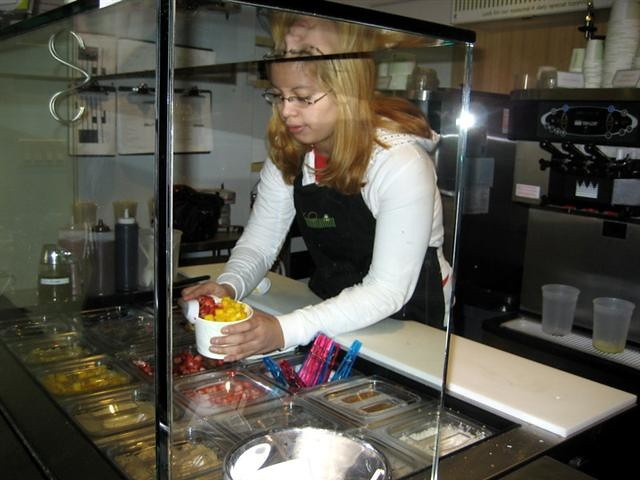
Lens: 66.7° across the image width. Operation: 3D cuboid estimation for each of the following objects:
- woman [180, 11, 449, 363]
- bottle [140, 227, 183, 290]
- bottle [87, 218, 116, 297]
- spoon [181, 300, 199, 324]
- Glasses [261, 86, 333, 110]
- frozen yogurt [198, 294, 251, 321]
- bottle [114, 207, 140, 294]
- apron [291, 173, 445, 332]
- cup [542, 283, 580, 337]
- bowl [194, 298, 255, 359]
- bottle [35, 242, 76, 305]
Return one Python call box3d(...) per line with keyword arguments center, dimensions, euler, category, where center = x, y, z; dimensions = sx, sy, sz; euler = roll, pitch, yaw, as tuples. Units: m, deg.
box3d(center=(0.000, -0.140, 1.157), dimensions=(0.509, 0.732, 0.573), euler=(11, 25, 28), category="woman")
box3d(center=(-0.199, 0.024, 0.579), dimensions=(0.020, 0.083, 0.091), euler=(-8, 15, -33), category="bottle")
box3d(center=(-0.318, 0.031, 0.703), dimensions=(0.012, 0.127, 0.100), euler=(-11, 17, -42), category="bottle")
box3d(center=(-0.238, 0.129, 0.893), dimensions=(0.039, 0.034, 0.029), euler=(1, 0, 21), category="spoon")
box3d(center=(-0.040, -0.229, 0.791), dimensions=(0.101, 0.023, 0.070), euler=(-2, 12, -15), category="Glasses")
box3d(center=(-0.196, 0.128, 0.983), dimensions=(0.058, 0.021, 0.061), euler=(1, 3, -42), category="frozen yogurt")
box3d(center=(-0.258, 0.016, 0.642), dimensions=(0.012, 0.127, 0.096), euler=(-9, 16, -36), category="bottle")
box3d(center=(0.119, 0.026, 1.110), dimensions=(0.215, 0.398, 0.317), euler=(-30, 22, -33), category="apron")
box3d(center=(1.055, 0.305, 2.146), dimensions=(0.137, 0.196, 0.186), euler=(8, 14, 31), category="cup")
box3d(center=(-0.190, 0.173, 0.925), dimensions=(0.085, 0.056, 0.093), euler=(3, 1, 0), category="bowl")
box3d(center=(-0.477, 0.060, 0.866), dimensions=(0.066, 0.109, 0.063), euler=(0, 4, 0), category="bottle")
